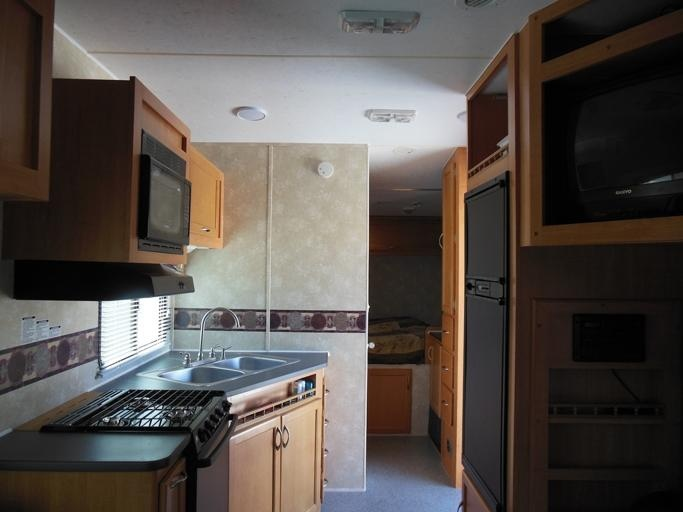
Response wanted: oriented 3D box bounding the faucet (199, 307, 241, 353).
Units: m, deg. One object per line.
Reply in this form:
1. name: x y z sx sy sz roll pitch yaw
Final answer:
1. faucet: -0.801 0.497 3.597 0.274 0.322 0.399 3 3 -14

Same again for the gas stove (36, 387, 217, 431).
1. gas stove: -0.885 0.682 2.402 0.646 0.081 0.447 4 2 0

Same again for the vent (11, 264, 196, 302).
1. vent: -1.012 0.115 2.390 0.749 0.193 0.298 3 3 -34

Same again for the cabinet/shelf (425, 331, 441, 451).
1. cabinet/shelf: 0.746 1.090 4.381 0.132 0.713 0.500 4 2 4

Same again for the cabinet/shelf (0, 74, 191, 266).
1. cabinet/shelf: -1.019 -0.326 2.660 0.599 1.155 1.201 0 -2 0
